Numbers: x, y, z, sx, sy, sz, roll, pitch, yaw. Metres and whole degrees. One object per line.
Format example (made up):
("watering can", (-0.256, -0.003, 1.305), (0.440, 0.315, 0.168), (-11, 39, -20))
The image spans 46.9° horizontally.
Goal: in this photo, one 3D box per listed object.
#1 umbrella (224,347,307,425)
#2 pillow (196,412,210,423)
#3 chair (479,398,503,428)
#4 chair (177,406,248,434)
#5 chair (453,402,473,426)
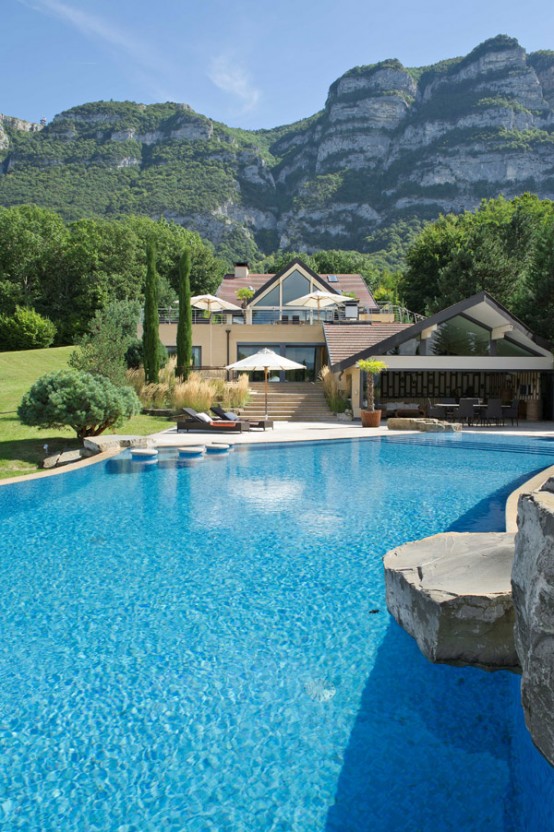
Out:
("umbrella", (-0.431, -1.167, 24.533), (2.617, 2.946, 2.699), (-1, 2, -15))
("pillow", (-2.343, 0.047, 20.270), (0.277, 0.112, 0.403), (16, 13, -27))
("chair", (8.033, -0.112, 23.790), (0.744, 1.002, 1.948), (2, 7, 19))
("chair", (-2.188, 0.231, 20.441), (1.645, 0.722, 1.230), (0, 5, 4))
("chair", (7.033, -0.133, 23.807), (0.552, 1.022, 1.572), (1, 7, 16))
